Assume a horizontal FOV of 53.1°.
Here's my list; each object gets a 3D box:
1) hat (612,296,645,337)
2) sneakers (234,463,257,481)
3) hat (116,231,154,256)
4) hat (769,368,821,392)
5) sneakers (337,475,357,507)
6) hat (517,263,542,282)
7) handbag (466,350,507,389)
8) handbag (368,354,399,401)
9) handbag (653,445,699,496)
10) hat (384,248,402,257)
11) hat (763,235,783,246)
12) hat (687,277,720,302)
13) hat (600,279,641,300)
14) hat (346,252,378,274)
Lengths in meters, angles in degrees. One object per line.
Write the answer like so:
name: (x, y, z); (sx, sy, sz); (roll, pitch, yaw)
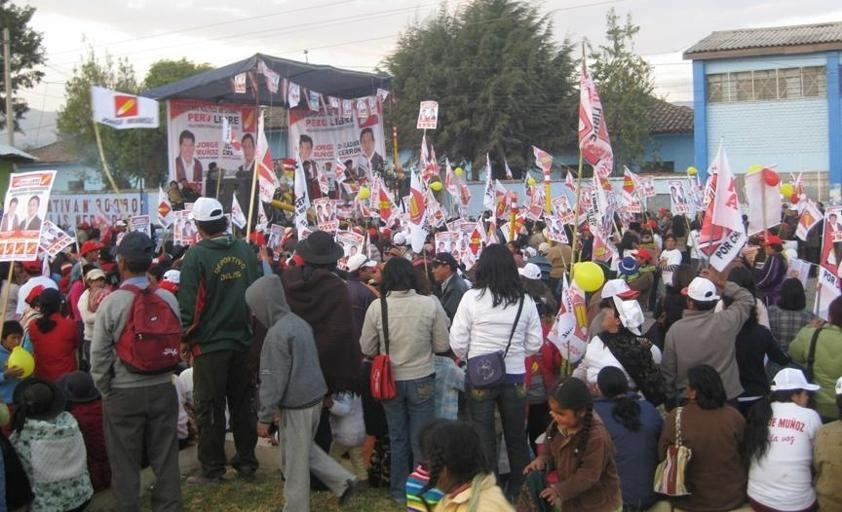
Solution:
hat: (2.748, 0.740, 11.035); (0.191, 0.498, 0.431); (-28, 22, 28)
sneakers: (-2.452, 3.002, 11.741); (0.221, 0.207, 0.246); (2, -27, 21)
hat: (-3.712, -0.164, 10.871); (0.430, 0.281, 0.290); (-1, 3, -25)
hat: (4.684, 1.546, 10.593); (0.428, 0.214, 0.324); (-3, -3, 12)
sneakers: (-0.979, 3.095, 11.163); (0.258, 0.380, 0.173); (-1, 3, -15)
hat: (1.622, 0.203, 12.758); (0.249, 0.116, 0.334); (-1, 21, -28)
handbag: (0.881, 1.481, 11.010); (0.440, 0.425, 0.188); (-8, -6, 17)
handbag: (-0.490, 1.593, 11.185); (0.298, 0.656, 0.620); (-5, 3, -27)
handbag: (3.212, 2.656, 10.472); (0.624, 0.785, 0.324); (-1, -4, 22)
hat: (-0.500, -0.059, 14.921); (0.209, 0.100, 0.299); (5, -8, 6)
hat: (6.040, -0.280, 14.268); (0.316, 0.163, 0.221); (-11, 11, -32)
hat: (3.795, 0.442, 11.281); (0.372, 0.311, 0.250); (1, 3, 13)
hat: (2.671, 0.440, 11.278); (0.383, 0.181, 0.273); (1, 0, 12)
hat: (-0.925, 0.107, 12.882); (0.391, 0.207, 0.244); (-19, 20, -21)
